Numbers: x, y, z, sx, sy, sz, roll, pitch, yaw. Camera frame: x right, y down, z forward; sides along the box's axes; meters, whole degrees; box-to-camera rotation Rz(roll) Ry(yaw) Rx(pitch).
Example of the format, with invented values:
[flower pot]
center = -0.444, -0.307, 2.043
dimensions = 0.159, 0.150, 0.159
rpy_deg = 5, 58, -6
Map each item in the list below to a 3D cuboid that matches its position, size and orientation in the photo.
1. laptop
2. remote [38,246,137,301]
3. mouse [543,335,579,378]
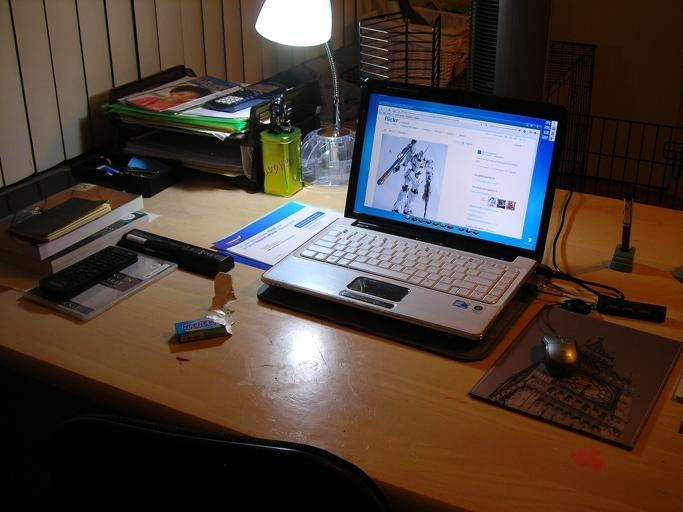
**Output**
[laptop]
center = 0.170, -0.089, 1.022
dimensions = 0.558, 0.352, 0.508
rpy_deg = 20, 37, 28
[remote]
center = -0.489, 0.018, 1.038
dimensions = 0.073, 0.020, 0.154
rpy_deg = 21, 36, 26
[mouse]
center = 0.341, 0.145, 0.840
dimensions = 0.055, 0.028, 0.092
rpy_deg = 2, 29, 14
